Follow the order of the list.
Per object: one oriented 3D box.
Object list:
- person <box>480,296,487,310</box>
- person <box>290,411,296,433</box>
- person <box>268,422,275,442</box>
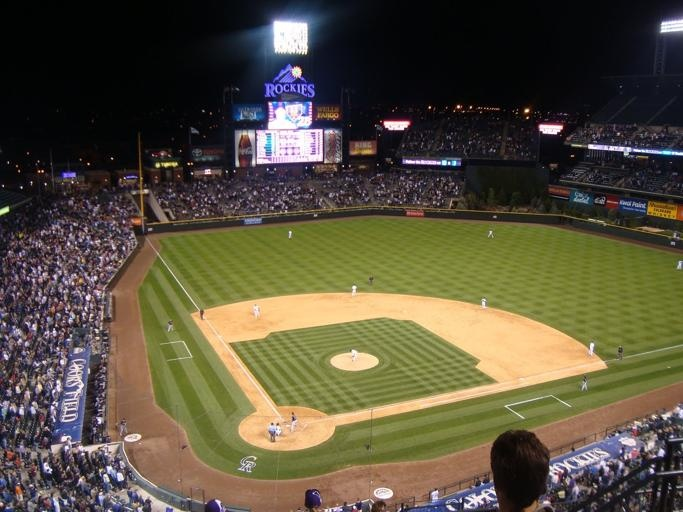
[{"bbox_3d":[13.042,4.432,53.235,0.576,0.294,1.048,-1,16,8],"label":"person"},{"bbox_3d":[-3.008,10.087,36.304,0.424,1.011,1.285,-1,6,-5],"label":"person"},{"bbox_3d":[-4.220,10.459,35.157,0.457,1.068,0.945,-2,6,-8],"label":"person"}]
